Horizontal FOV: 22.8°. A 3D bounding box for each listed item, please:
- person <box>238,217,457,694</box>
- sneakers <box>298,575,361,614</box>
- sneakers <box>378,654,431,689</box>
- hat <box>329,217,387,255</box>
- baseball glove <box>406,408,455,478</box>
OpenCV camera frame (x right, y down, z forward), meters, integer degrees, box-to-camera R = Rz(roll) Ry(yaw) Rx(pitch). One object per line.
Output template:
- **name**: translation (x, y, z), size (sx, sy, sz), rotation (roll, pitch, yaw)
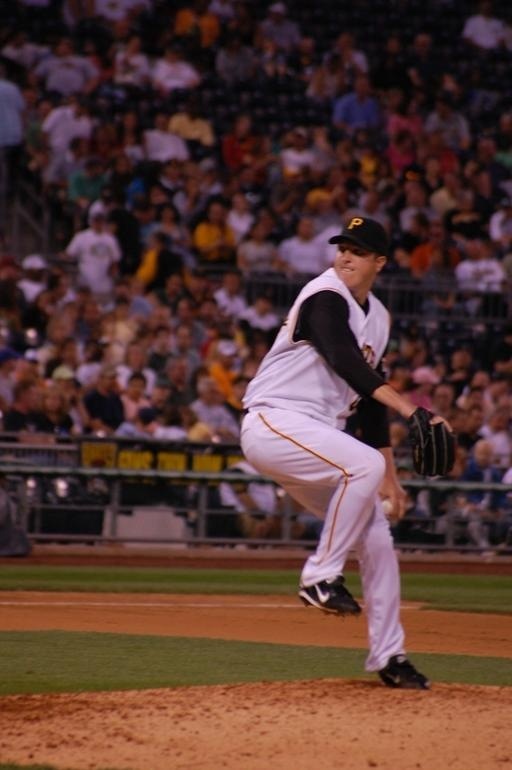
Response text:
- **person**: translation (0.361, 0.228, 5.111), size (0.821, 1.873, 0.714), rotation (6, 0, -6)
- **sneakers**: translation (0.324, 0.815, 4.962), size (0.283, 0.132, 0.105), rotation (6, 0, 42)
- **sneakers**: translation (0.561, 1.116, 4.976), size (0.238, 0.093, 0.088), rotation (-4, -3, 44)
- **hat**: translation (0.438, -0.603, 5.215), size (0.221, 0.106, 0.147), rotation (21, 1, -34)
- **baseball glove**: translation (0.686, 0.224, 5.028), size (0.192, 0.273, 0.262), rotation (6, 0, 7)
